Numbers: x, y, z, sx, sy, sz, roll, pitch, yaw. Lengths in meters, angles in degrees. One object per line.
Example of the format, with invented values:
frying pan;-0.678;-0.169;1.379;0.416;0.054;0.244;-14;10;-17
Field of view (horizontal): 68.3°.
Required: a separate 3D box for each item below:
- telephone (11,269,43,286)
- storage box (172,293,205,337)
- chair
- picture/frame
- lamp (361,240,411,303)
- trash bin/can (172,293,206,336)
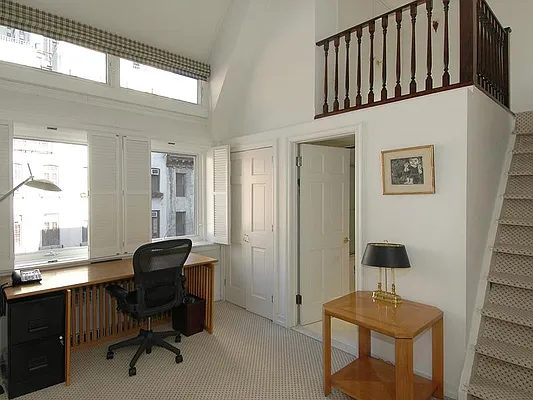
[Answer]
telephone;-2.410;0.773;3.966;0.184;0.074;0.188;3;22;-34
storage box;-0.943;1.338;4.955;0.349;0.539;0.502;1;1;-38
chair;-1.247;1.066;4.258;0.911;1.316;0.622;-6;13;-24
picture/frame;1.443;-0.304;3.929;0.457;0.483;0.020;-2;-3;37
lamp;1.205;0.728;3.952;0.452;0.578;0.405;1;5;43
trash bin/can;-0.935;1.357;4.951;0.349;0.539;0.502;1;0;-38
